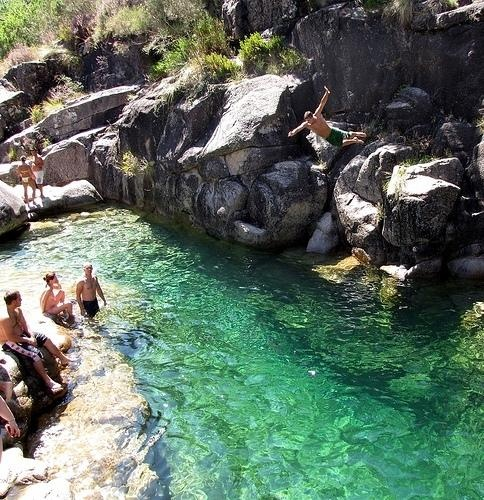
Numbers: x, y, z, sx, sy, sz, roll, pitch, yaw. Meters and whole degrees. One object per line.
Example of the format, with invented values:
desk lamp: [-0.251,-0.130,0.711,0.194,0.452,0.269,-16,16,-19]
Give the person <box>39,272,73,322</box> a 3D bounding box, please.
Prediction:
person: [-3.681,0.937,10.189,0.561,0.913,0.497,-7,26,-31]

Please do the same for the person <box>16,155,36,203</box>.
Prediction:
person: [-7.398,-2.520,17.798,0.529,1.826,0.457,-8,28,-24]

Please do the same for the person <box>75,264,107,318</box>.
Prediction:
person: [-3.114,1.063,10.724,0.370,1.614,0.620,17,22,39]
